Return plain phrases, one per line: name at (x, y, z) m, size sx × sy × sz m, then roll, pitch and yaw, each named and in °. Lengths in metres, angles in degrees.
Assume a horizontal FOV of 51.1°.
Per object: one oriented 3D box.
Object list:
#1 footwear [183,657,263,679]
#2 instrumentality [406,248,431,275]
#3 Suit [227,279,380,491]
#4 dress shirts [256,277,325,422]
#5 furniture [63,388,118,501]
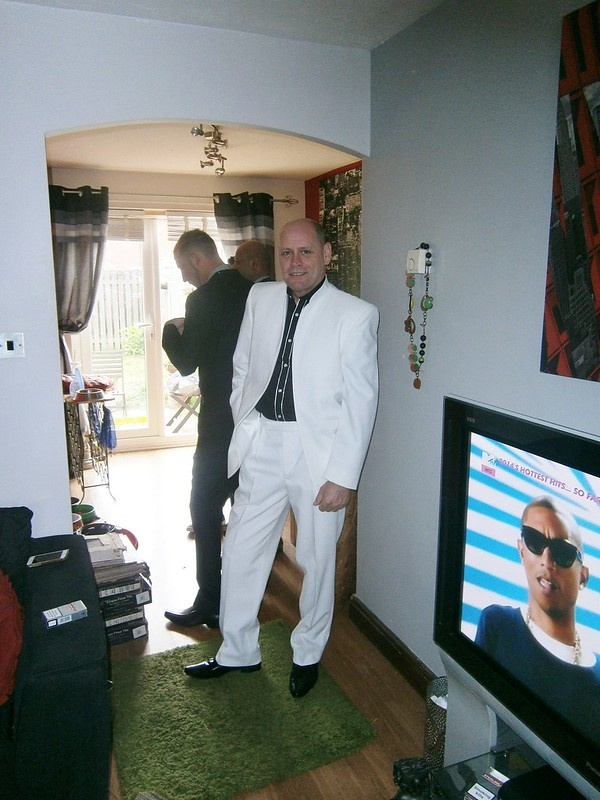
footwear at (-0.269, 0.903, 2.157) m, size 0.258 × 0.093 × 0.087 m, roll 5°, pitch -9°, yaw -9°
instrumentality at (0.365, -0.430, 1.946) m, size 0.063 × 0.080 × 0.094 m, roll -1°, pitch 9°, yaw -9°
Suit at (-0.011, -0.056, 2.072) m, size 0.563 × 0.666 × 0.231 m, roll 6°, pitch 11°, yaw 33°
dress shirts at (-0.055, -0.144, 2.102) m, size 0.156 × 0.503 × 0.142 m, roll 13°, pitch 3°, yaw 22°
furniture at (-1.370, 0.298, 4.065) m, size 0.259 × 0.615 × 0.580 m, roll -7°, pitch 18°, yaw -20°
